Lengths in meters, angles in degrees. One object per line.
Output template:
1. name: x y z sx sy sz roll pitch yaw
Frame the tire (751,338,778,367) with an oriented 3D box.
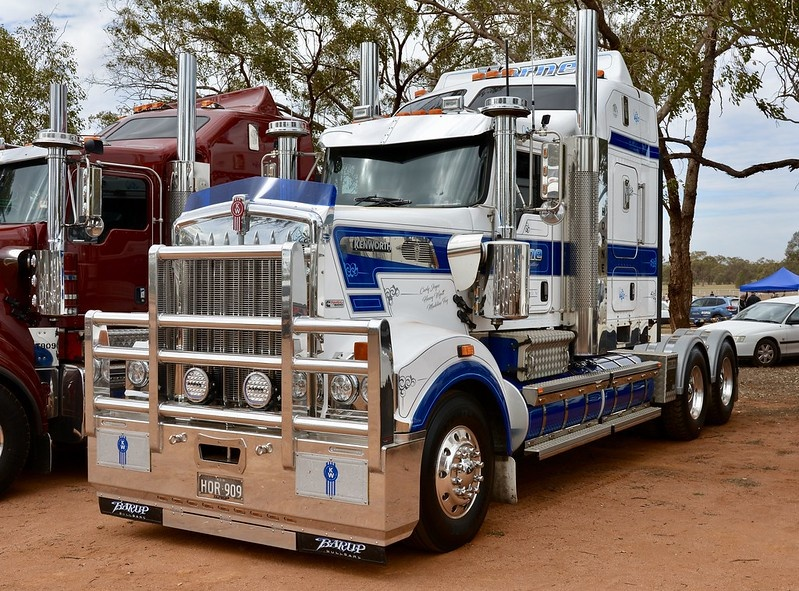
1. tire: 9.447 1.474 19.609 0.595 0.686 0.226 -4 7 -17

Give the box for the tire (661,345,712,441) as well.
1. tire: 4.043 1.393 10.746 0.334 1.271 1.044 -3 -12 43

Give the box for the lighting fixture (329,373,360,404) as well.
1. lighting fixture: -0.425 0.739 6.004 0.240 0.276 0.107 0 -2 33

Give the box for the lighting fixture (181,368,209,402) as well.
1. lighting fixture: -1.738 0.775 6.478 0.222 0.285 0.261 1 -2 -16

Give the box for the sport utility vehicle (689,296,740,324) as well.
1. sport utility vehicle: 16.150 0.792 38.899 2.535 1.237 1.266 1 0 38

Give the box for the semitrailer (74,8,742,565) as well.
1. semitrailer: 0.543 0.282 10.087 3.174 5.323 8.868 -5 -6 37

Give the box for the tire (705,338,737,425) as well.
1. tire: 4.945 1.331 11.692 0.291 1.117 0.944 -3 -22 30

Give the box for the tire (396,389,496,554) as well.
1. tire: 0.359 1.495 6.343 0.546 1.284 1.073 -7 9 31

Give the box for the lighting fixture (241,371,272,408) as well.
1. lighting fixture: -1.165 0.777 6.271 0.258 0.293 0.261 11 -10 -33

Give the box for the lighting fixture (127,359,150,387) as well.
1. lighting fixture: -2.361 0.708 6.934 0.223 0.251 0.078 18 5 19
